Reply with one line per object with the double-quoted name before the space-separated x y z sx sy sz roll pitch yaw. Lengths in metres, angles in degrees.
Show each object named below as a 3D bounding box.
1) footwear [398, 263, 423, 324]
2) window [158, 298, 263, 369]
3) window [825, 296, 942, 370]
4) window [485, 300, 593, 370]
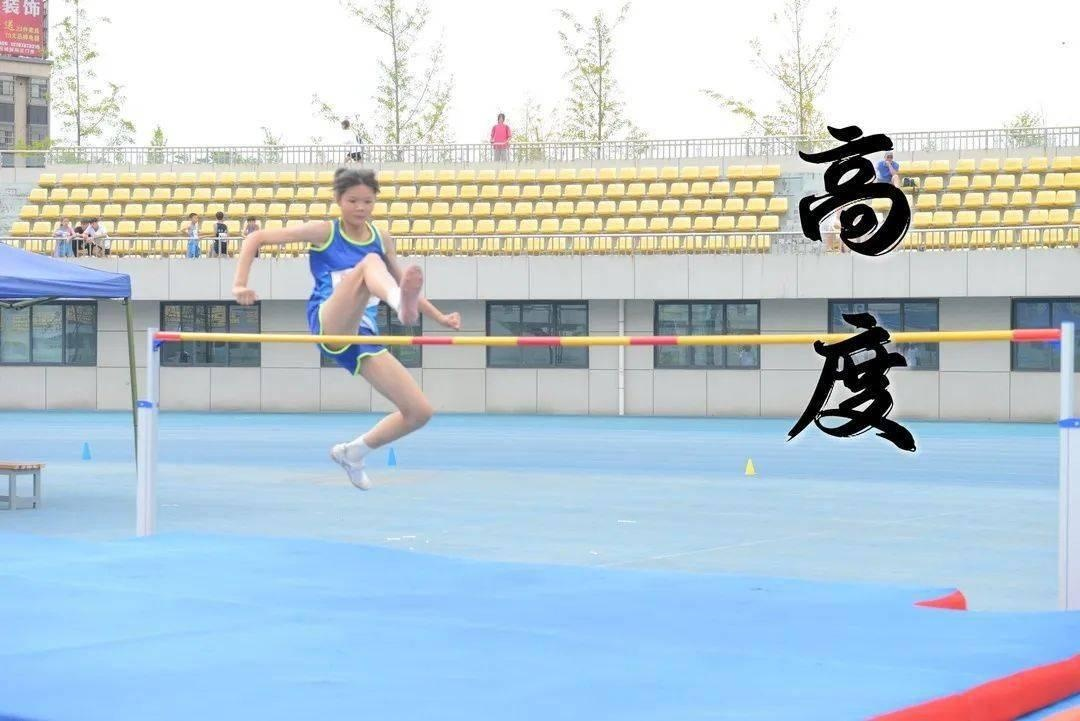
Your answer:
"footwear" -1.163 -0.600 13.180 0.200 0.548 0.290 0 12 -15
"window" -5.793 -0.466 25.656 1.557 0.898 0.060 0 -5 -4
"window" 4.948 -0.423 20.841 1.478 0.903 0.061 0 -3 12
"window" 0.028 -0.490 25.212 1.477 0.822 0.063 0 -3 8
